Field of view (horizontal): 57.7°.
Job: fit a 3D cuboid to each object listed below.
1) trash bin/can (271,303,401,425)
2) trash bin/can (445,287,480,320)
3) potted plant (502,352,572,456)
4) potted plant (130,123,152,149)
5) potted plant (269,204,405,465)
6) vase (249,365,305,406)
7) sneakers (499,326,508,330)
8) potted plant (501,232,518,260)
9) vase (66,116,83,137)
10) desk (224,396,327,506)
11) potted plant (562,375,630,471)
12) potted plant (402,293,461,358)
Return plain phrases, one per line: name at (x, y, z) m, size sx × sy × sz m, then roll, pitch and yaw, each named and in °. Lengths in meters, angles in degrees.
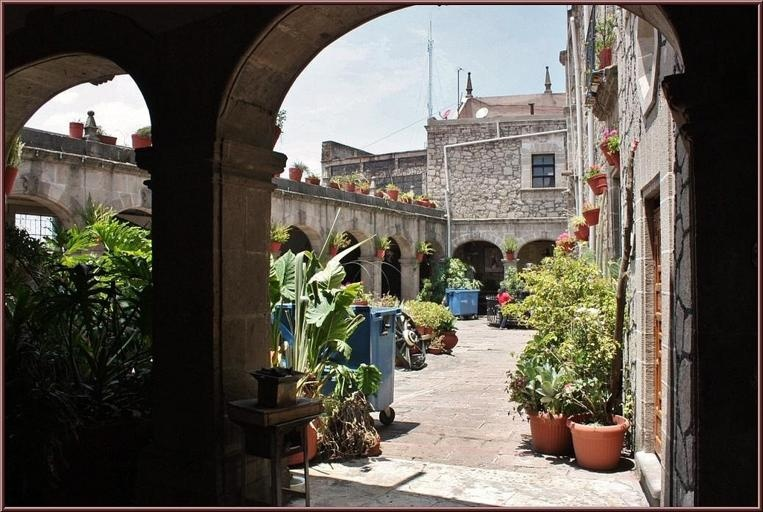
trash bin/can at (-0.617, 1.041, 7.802) m, size 1.552 × 1.579 × 1.211 m, roll -2°, pitch -6°, yaw 17°
trash bin/can at (2.302, 1.253, 19.714) m, size 1.294 × 1.072 × 0.754 m, roll 0°, pitch -1°, yaw -41°
potted plant at (1.486, 1.397, 6.562) m, size 0.563 × 0.911 × 0.403 m, roll -2°, pitch -4°, yaw 21°
potted plant at (-3.668, -1.812, 10.487) m, size 0.327 × 0.334 × 0.237 m, roll -1°, pitch -4°, yaw 2°
potted plant at (-0.505, 0.840, 6.810) m, size 1.227 × 2.058 × 1.896 m, roll -1°, pitch -4°, yaw 0°
vase at (-0.755, 0.946, 4.983) m, size 0.283 × 0.214 × 0.337 m, roll 1°, pitch -4°, yaw 34°
sneakers at (2.981, 1.769, 17.033) m, size 0.195 × 0.082 × 0.062 m, roll -6°, pitch 3°, yaw 29°
potted plant at (3.742, -0.249, 20.499) m, size 0.558 × 0.801 × 0.553 m, roll 1°, pitch -5°, yaw -1°
vase at (-4.431, -1.865, 10.010) m, size 0.242 × 0.264 × 0.240 m, roll -1°, pitch -5°, yaw -16°
desk at (-0.813, 1.436, 5.077) m, size 0.514 × 1.003 × 0.819 m, roll -5°, pitch -7°, yaw 33°
potted plant at (1.935, 1.665, 6.213) m, size 0.512 × 0.395 × 0.518 m, roll -1°, pitch 0°, yaw -20°
potted plant at (0.878, 1.315, 12.724) m, size 0.940 × 0.923 × 0.788 m, roll -1°, pitch -4°, yaw 2°
